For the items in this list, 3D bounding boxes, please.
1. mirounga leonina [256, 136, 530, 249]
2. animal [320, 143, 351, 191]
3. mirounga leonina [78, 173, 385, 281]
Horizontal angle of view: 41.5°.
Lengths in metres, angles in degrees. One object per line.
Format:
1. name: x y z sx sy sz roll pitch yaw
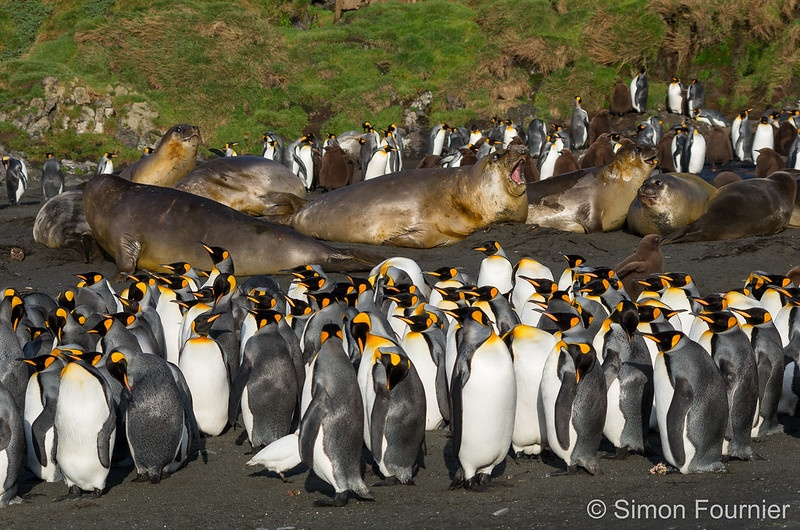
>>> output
1. mirounga leonina: 0.066 -1.261 19.966 5.245 1.714 1.729 -1 4 11
2. animal: -1.556 -2.334 25.038 0.862 1.237 0.785 2 -20 -4
3. mirounga leonina: -3.342 -0.498 17.490 7.375 2.097 2.841 2 0 29
